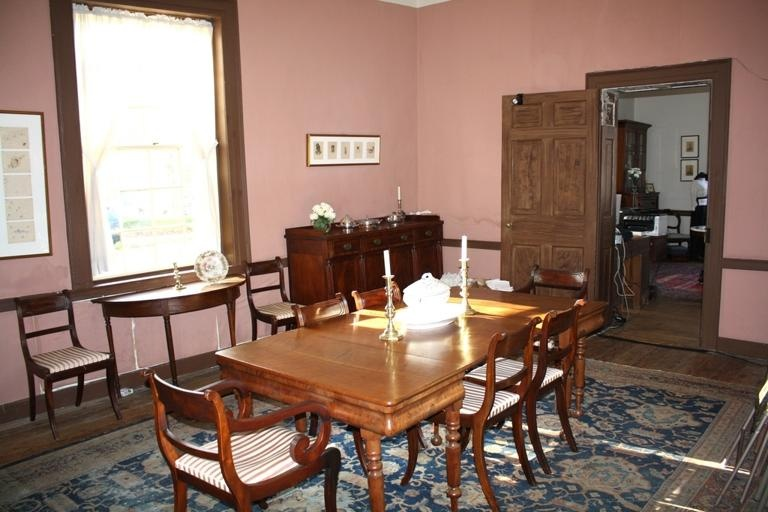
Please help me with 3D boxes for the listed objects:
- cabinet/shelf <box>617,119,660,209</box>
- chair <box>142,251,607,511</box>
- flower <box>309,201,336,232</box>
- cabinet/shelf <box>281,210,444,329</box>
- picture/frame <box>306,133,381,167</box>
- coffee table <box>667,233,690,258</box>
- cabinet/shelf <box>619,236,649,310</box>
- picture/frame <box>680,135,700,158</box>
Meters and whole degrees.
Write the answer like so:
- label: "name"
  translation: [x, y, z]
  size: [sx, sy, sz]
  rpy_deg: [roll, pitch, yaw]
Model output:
- label: "cabinet/shelf"
  translation: [5.904, -2.127, 12.129]
  size: [0.634, 2.043, 1.693]
  rpy_deg: [7, 14, 41]
- label: "chair"
  translation: [0.125, 1.057, 4.036]
  size: [2.358, 1.521, 1.378]
  rpy_deg: [-10, 13, -35]
- label: "flower"
  translation: [-0.762, -0.476, 6.578]
  size: [0.367, 0.379, 0.374]
  rpy_deg: [-3, 1, 29]
- label: "cabinet/shelf"
  translation: [-0.156, 0.132, 7.286]
  size: [2.188, 1.364, 0.737]
  rpy_deg: [-11, 16, -42]
- label: "picture/frame"
  translation: [-0.541, -1.480, 7.267]
  size: [0.118, 0.423, 1.290]
  rpy_deg: [8, 14, 43]
- label: "coffee table"
  translation: [6.253, -0.224, 11.103]
  size: [0.477, 0.328, 0.526]
  rpy_deg: [-1, 8, 5]
- label: "cabinet/shelf"
  translation: [3.768, 0.246, 7.905]
  size: [0.564, 0.979, 0.996]
  rpy_deg: [1, 7, 30]
- label: "picture/frame"
  translation: [7.177, -2.573, 12.199]
  size: [0.044, 0.624, 0.474]
  rpy_deg: [-15, 21, -40]
